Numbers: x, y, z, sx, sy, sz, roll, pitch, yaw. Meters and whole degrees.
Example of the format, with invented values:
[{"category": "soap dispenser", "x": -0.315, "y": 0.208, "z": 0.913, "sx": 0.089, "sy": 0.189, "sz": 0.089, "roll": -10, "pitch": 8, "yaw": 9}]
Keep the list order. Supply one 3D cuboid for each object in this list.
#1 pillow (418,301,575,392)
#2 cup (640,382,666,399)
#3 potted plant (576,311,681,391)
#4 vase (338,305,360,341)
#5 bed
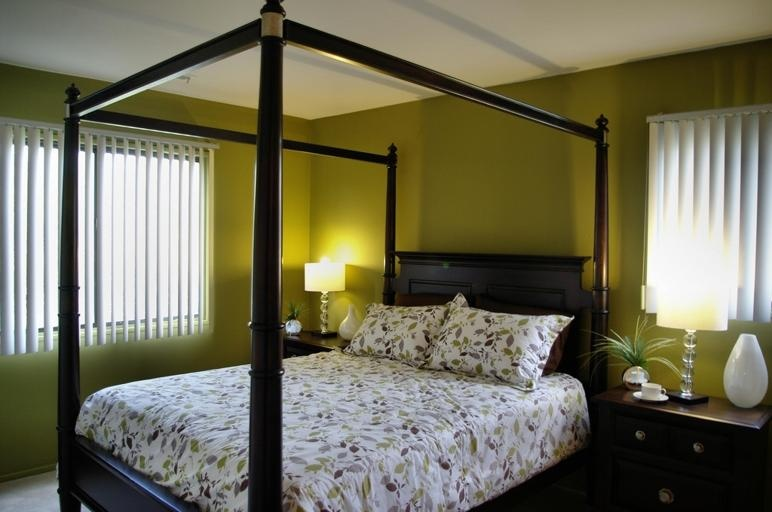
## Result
[{"category": "pillow", "x": 0.823, "y": 0.683, "z": 4.408, "sx": 0.973, "sy": 0.474, "sz": 0.523, "roll": 2, "pitch": 4, "yaw": 24}, {"category": "cup", "x": 1.887, "y": 0.943, "z": 4.041, "sx": 0.102, "sy": 0.085, "sz": 0.129, "roll": 1, "pitch": 2, "yaw": -44}, {"category": "potted plant", "x": 1.902, "y": 0.727, "z": 4.483, "sx": 0.535, "sy": 0.412, "sz": 0.568, "roll": 2, "pitch": 1, "yaw": 14}, {"category": "vase", "x": -0.344, "y": 0.644, "z": 5.652, "sx": 0.265, "sy": 0.386, "sz": 0.268, "roll": 0, "pitch": 9, "yaw": -13}, {"category": "bed", "x": -0.267, "y": 0.872, "z": 4.269, "sx": 3.202, "sy": 1.829, "sz": 2.814, "roll": 3, "pitch": 5, "yaw": 30}]
